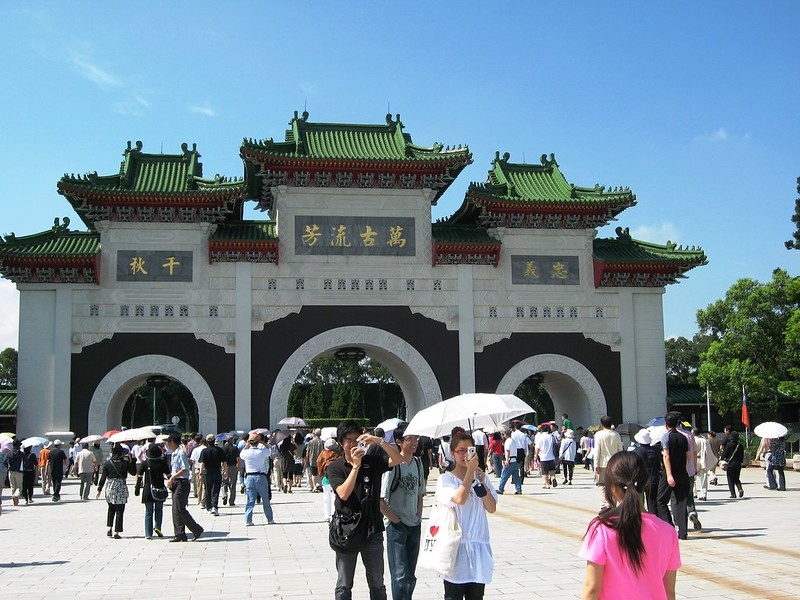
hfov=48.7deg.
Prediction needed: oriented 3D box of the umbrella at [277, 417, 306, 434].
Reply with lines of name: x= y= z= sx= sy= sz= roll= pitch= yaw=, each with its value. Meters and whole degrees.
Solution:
umbrella: x=-3.813 y=4.335 z=30.751 sx=1.270 sy=0.473 sz=1.285 roll=3 pitch=-11 yaw=-22

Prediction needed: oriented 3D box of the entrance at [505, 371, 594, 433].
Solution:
entrance: x=6.343 y=4.066 z=38.256 sx=2.322 sy=3.203 sz=3.244 roll=-7 pitch=-20 yaw=38
